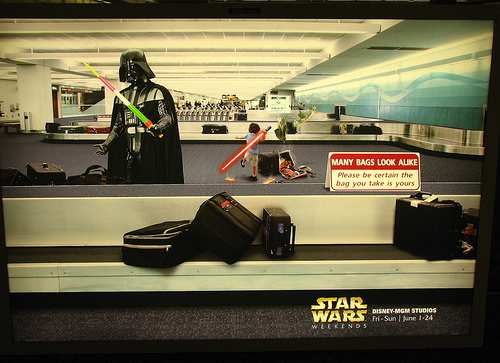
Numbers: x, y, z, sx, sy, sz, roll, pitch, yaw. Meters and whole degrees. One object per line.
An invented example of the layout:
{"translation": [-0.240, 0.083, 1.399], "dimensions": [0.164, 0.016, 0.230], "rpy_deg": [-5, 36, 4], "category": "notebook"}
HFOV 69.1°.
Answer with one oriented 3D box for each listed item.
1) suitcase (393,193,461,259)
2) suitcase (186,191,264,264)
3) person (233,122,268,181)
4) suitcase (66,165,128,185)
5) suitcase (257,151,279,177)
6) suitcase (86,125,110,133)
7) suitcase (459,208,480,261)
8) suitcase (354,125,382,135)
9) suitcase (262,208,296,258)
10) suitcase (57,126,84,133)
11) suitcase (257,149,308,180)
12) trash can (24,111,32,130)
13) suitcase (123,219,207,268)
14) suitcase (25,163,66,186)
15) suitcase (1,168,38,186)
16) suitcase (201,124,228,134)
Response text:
{"translation": [1.863, 0.371, 3.864], "dimensions": [0.337, 0.426, 0.491], "rpy_deg": [-1, 10, -10], "category": "suitcase"}
{"translation": [-0.286, 0.444, 3.810], "dimensions": [0.596, 0.375, 0.577], "rpy_deg": [36, 18, -1], "category": "suitcase"}
{"translation": [-0.009, -0.571, 5.863], "dimensions": [0.555, 0.945, 0.404], "rpy_deg": [20, 35, 25], "category": "person"}
{"translation": [-1.838, -0.079, 4.299], "dimensions": [0.761, 0.247, 0.363], "rpy_deg": [6, 10, 40], "category": "suitcase"}
{"translation": [0.217, -0.263, 5.748], "dimensions": [0.349, 0.351, 0.408], "rpy_deg": [-5, 2, 28], "category": "suitcase"}
{"translation": [-5.546, -1.941, 13.241], "dimensions": [0.732, 0.292, 1.334], "rpy_deg": [-3, 8, -23], "category": "suitcase"}
{"translation": [2.287, 0.541, 3.802], "dimensions": [0.143, 0.494, 0.377], "rpy_deg": [4, 9, 29], "category": "suitcase"}
{"translation": [3.466, -1.515, 10.549], "dimensions": [0.779, 0.247, 0.419], "rpy_deg": [0, 8, -2], "category": "suitcase"}
{"translation": [0.295, 0.531, 3.825], "dimensions": [0.330, 0.461, 0.337], "rpy_deg": [0, 8, 0], "category": "suitcase"}
{"translation": [-6.406, -1.902, 13.089], "dimensions": [0.469, 0.252, 1.042], "rpy_deg": [4, 8, 28], "category": "suitcase"}
{"translation": [0.514, -0.268, 5.829], "dimensions": [0.785, 0.308, 0.513], "rpy_deg": [9, 5, -18], "category": "suitcase"}
{"translation": [-8.951, -2.466, 14.631], "dimensions": [0.261, 0.711, 0.246], "rpy_deg": [-5, 10, -27], "category": "trash can"}
{"translation": [-0.886, 0.628, 3.641], "dimensions": [0.658, 0.189, 0.457], "rpy_deg": [-2, 1, 13], "category": "suitcase"}
{"translation": [-2.545, -0.093, 4.499], "dimensions": [0.320, 0.173, 0.502], "rpy_deg": [-2, 18, -34], "category": "suitcase"}
{"translation": [-2.866, -0.059, 4.399], "dimensions": [0.453, 0.211, 0.213], "rpy_deg": [1, 8, 12], "category": "suitcase"}
{"translation": [-1.030, -1.495, 10.221], "dimensions": [0.579, 0.272, 0.785], "rpy_deg": [1, 7, 9], "category": "suitcase"}
